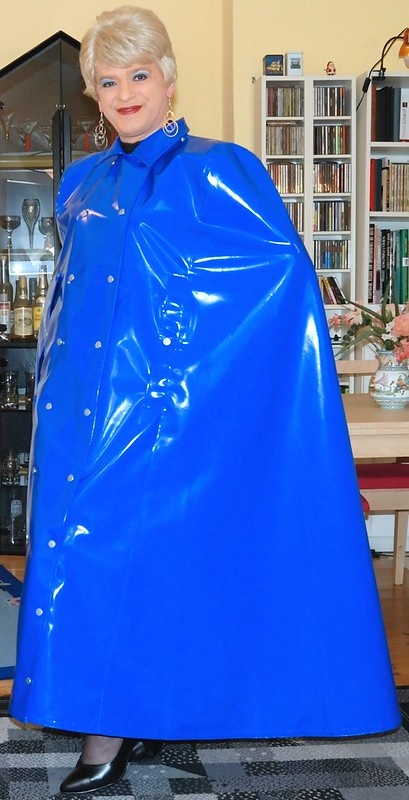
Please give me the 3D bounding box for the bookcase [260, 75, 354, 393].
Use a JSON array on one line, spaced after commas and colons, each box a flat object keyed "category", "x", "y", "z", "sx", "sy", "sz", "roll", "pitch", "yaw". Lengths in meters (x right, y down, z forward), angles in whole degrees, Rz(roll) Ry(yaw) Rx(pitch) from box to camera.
[{"category": "bookcase", "x": 0.529, "y": -0.784, "z": 3.436, "sx": 0.481, "sy": 1.917, "sz": 0.321, "roll": 2, "pitch": -18, "yaw": 2}]
